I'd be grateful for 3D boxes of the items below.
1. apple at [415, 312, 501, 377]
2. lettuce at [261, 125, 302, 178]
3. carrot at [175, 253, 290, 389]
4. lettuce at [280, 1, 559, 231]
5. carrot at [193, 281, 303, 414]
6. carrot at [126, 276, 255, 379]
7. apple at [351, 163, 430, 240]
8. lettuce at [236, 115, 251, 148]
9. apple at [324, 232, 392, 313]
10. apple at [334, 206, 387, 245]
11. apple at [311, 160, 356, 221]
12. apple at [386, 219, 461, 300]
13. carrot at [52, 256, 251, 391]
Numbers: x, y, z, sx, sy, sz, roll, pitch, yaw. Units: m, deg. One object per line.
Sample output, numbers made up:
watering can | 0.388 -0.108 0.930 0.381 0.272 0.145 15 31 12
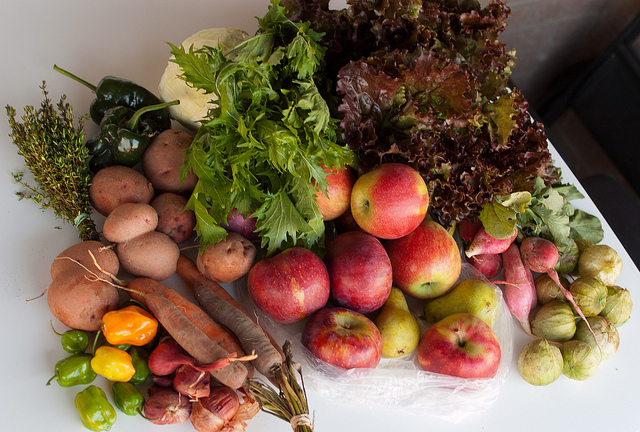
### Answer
apple | 0.367 0.369 1.593 0.159 0.168 0.189 33 -17 17
lettuce | -0.095 -0.172 1.496 0.093 0.118 0.050 -32 33 -11
carrot | -0.220 0.277 1.491 0.052 0.053 0.390 -32 80 -37
lettuce | 0.280 -0.308 1.798 0.575 0.769 0.321 0 0 -18
carrot | -0.201 0.315 1.523 0.090 0.091 0.511 -22 44 -31
carrot | -0.335 0.294 1.479 0.283 0.065 0.072 44 29 11
apple | 0.185 -0.038 1.606 0.170 0.202 0.192 -15 5 -2
lettuce | -0.185 -0.207 1.408 0.040 0.066 0.014 -14 12 -33
apple | 0.124 0.179 1.629 0.171 0.228 0.197 -23 -16 4
apple | 0.122 0.021 1.716 0.104 0.122 0.133 -14 9 -1
apple | 0.019 -0.092 1.601 0.106 0.143 0.113 18 38 35
apple | 0.300 0.164 1.635 0.189 0.186 0.204 35 41 -24
carrot | -0.439 0.282 1.474 0.428 0.081 0.064 41 0 10
